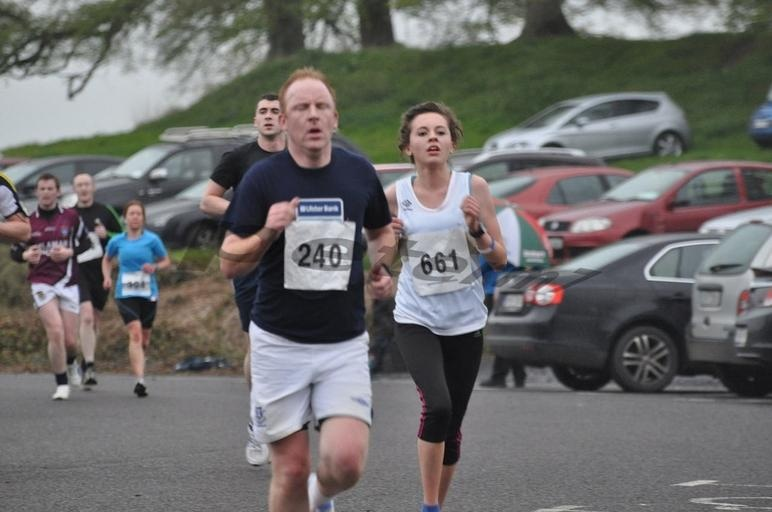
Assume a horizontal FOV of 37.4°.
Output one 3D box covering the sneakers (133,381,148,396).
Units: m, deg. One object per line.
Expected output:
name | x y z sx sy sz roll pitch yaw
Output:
sneakers | -2.767 1.510 12.942 0.150 0.186 0.295 -6 10 -12

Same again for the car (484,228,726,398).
car | 2.331 0.613 12.226 2.695 0.992 1.311 -4 1 -15

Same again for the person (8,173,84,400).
person | -3.713 0.374 13.006 0.606 2.594 1.228 -5 9 -2

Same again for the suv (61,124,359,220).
suv | -2.331 -1.302 16.374 3.651 1.191 1.626 -2 4 -15

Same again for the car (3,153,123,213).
car | -4.850 -1.116 17.197 1.992 0.639 0.903 0 3 9

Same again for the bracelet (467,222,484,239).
bracelet | 0.686 -0.184 8.546 0.130 0.111 0.081 0 44 -46

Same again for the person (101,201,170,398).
person | -2.891 0.452 13.443 0.785 2.146 1.375 -7 10 -13
